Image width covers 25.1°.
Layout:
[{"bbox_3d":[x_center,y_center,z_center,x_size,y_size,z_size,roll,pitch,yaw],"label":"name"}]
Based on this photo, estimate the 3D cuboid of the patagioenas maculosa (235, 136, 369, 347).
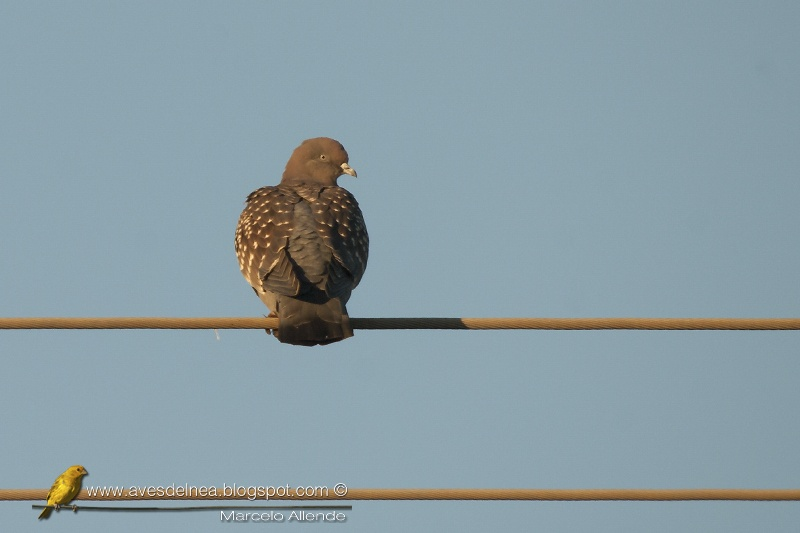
[{"bbox_3d":[-0.754,-0.056,13.974,1.031,2.126,0.939,-7,-77,-1],"label":"patagioenas maculosa"}]
